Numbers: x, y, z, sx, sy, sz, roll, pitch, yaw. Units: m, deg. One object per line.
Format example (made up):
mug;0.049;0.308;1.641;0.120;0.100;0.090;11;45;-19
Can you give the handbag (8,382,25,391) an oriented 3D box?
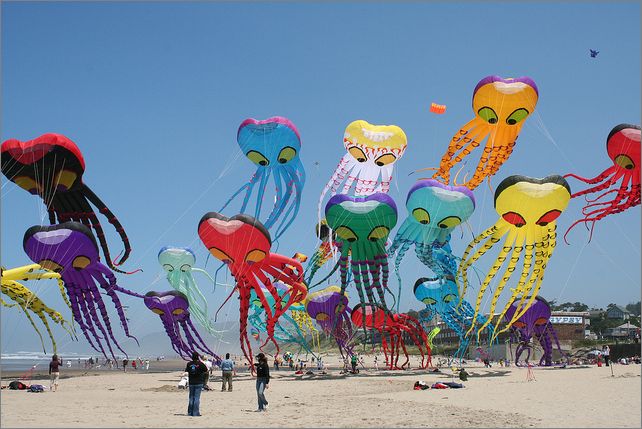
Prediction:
handbag;-17.080;9.650;32.069;0.946;0.393;0.724;6;-10;-19

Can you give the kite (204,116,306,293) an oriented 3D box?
kite;-3.447;-1.970;35.958;4.742;8.225;2.967;-3;-32;-3

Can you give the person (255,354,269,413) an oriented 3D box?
person;-2.665;7.598;25.637;0.567;2.631;1.107;3;-9;-5

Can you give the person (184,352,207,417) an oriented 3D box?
person;-5.507;7.464;24.963;0.793;2.718;1.512;4;-9;-11

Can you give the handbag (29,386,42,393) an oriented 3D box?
handbag;-15.716;9.638;31.502;0.389;0.203;0.485;3;-2;-19

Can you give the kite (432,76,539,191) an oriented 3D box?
kite;9.529;-4.754;30.925;3.426;6.864;2.463;22;24;-9

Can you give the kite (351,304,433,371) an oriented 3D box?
kite;5.401;8.319;43.118;5.327;2.043;5.702;11;9;-14

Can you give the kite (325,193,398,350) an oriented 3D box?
kite;2.745;2.433;36.713;4.083;7.273;3.190;1;-9;7
